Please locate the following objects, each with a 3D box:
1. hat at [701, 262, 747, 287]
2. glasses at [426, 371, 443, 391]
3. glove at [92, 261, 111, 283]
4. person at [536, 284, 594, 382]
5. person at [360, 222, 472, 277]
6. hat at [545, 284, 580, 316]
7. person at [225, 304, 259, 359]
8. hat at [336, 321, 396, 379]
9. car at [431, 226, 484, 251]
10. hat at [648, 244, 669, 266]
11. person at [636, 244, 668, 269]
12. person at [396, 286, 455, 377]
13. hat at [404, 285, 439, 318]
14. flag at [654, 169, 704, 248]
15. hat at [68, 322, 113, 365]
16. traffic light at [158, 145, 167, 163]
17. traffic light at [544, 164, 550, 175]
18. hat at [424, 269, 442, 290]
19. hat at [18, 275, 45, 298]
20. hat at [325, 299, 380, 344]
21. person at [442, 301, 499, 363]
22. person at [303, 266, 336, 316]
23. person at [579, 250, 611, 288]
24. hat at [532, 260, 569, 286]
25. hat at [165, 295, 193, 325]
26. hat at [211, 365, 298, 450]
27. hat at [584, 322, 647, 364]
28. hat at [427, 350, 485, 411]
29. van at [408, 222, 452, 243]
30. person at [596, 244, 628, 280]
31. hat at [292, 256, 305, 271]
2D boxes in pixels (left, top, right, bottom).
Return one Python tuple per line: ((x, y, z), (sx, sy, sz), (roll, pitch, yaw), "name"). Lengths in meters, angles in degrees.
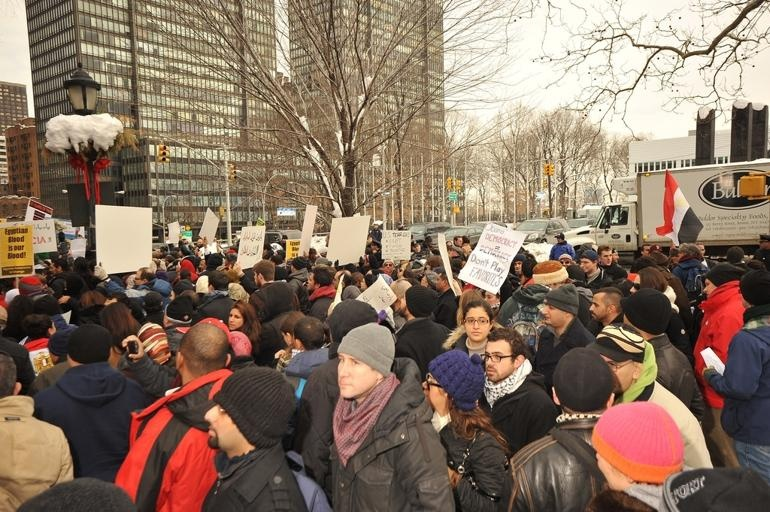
((4.680, 0.233, 8.566), (0.429, 0.164, 0.332), (-3, 8, -2), "hat")
((0.508, 1.292, 6.498), (0.157, 0.050, 0.156), (22, -1, 1), "glasses")
((-5.298, 0.292, 11.736), (0.215, 0.346, 0.341), (-32, 6, 13), "glove")
((2.180, 0.954, 7.742), (0.632, 1.276, 1.112), (-1, 3, -14), "person")
((0.427, -0.202, 14.877), (0.986, 0.938, 1.717), (-2, -2, 45), "person")
((2.281, 0.520, 8.174), (0.410, 0.327, 0.310), (27, 2, 1), "hat")
((-2.018, 0.973, 8.881), (0.445, 0.747, 0.497), (17, 15, 34), "person")
((-0.159, 0.926, 6.425), (0.539, 0.497, 0.538), (14, -5, -33), "hat")
((3.960, -1.303, 34.654), (1.655, 1.266, 3.526), (1, -1, 38), "car")
((5.856, -0.032, 13.468), (0.364, 0.194, 0.517), (-15, 28, 16), "hat")
((5.796, -0.015, 13.558), (0.503, 0.458, 0.830), (13, -4, 3), "person")
((0.386, 1.056, 8.681), (0.631, 1.185, 1.201), (11, 16, 13), "person")
((0.485, 0.600, 8.768), (0.339, 0.386, 0.458), (-3, 19, -21), "hat")
((5.524, -0.916, 11.985), (0.775, 1.756, 0.252), (-12, -33, 23), "flag")
((-3.359, 1.036, 7.139), (0.454, 0.588, 0.608), (2, 6, -31), "hat")
((-10.045, -4.702, 28.273), (0.320, 0.785, 1.834), (0, 5, -22), "traffic light")
((10.396, -5.605, 40.228), (0.232, 0.671, 0.426), (9, -10, -36), "traffic light")
((0.838, 0.386, 11.212), (0.274, 0.276, 0.307), (-6, 36, -40), "hat")
((-5.937, 0.505, 10.494), (0.228, 0.298, 0.308), (6, 9, 4), "hat")
((-0.398, 0.770, 7.550), (0.582, 0.597, 0.466), (2, 2, 21), "hat")
((1.119, 0.956, 8.291), (0.810, 0.657, 0.634), (-2, -5, 10), "person")
((-1.087, 0.623, 10.667), (0.511, 0.947, 1.011), (5, 12, 4), "person")
((3.937, 0.234, 11.882), (0.472, 0.730, 0.763), (-7, 8, -8), "person")
((2.495, 0.253, 9.538), (0.401, 0.255, 0.412), (-4, 6, -19), "hat")
((-2.952, 0.772, 8.984), (0.364, 0.424, 0.277), (0, 5, -24), "hat")
((-1.188, 1.345, 6.091), (0.714, 0.592, 0.718), (32, 4, -18), "hat")
((2.473, 0.938, 6.684), (0.458, 0.238, 0.349), (24, 1, -7), "hat")
((0.769, 1.195, 6.451), (0.613, 0.405, 0.460), (43, 27, -8), "hat")
((2.662, -1.650, 39.366), (1.363, 1.281, 3.075), (-2, 0, 38), "van")
((4.486, 0.187, 12.763), (0.814, 0.825, 0.458), (5, 9, 37), "person")
((-1.790, 0.125, 12.855), (0.215, 0.271, 0.274), (5, 14, -30), "hat")
